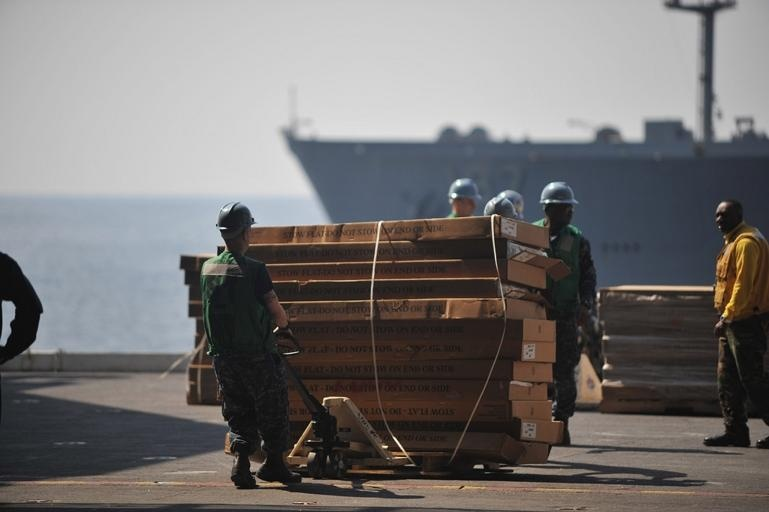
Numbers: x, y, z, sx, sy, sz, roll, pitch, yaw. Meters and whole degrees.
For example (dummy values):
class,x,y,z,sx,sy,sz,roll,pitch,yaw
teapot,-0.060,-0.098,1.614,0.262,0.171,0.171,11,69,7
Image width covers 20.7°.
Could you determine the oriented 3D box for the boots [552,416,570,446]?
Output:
class,x,y,z,sx,sy,sz,roll,pitch,yaw
boots,4.467,4.318,52.582,0.457,0.725,0.809,-2,-4,16
